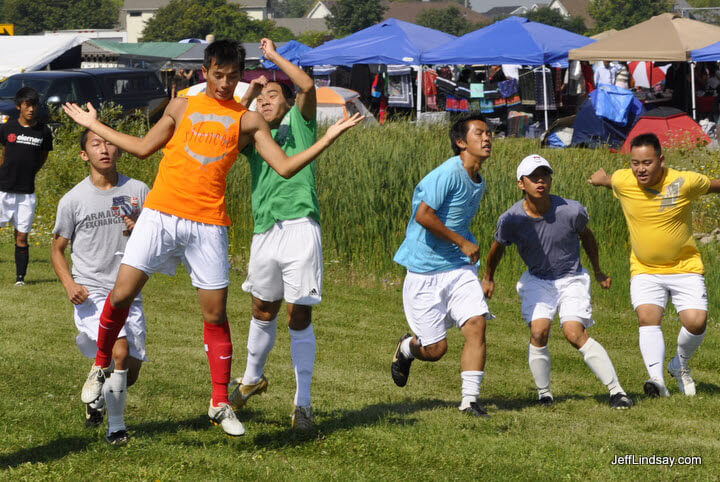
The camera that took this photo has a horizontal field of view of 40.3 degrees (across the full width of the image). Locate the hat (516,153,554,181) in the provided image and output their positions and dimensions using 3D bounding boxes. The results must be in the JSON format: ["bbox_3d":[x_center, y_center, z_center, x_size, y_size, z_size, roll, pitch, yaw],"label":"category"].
[{"bbox_3d":[1.682,-0.733,9.879,0.229,0.186,0.321,-3,-4,-12],"label":"hat"}]

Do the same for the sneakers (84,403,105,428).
[{"bbox_3d":[-2.456,1.616,9.034,0.213,0.275,0.611,1,-3,-16],"label":"sneakers"}]

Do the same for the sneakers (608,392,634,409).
[{"bbox_3d":[2.563,1.593,9.738,0.122,0.085,0.195,2,3,-19],"label":"sneakers"}]

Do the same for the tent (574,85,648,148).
[{"bbox_3d":[5.378,-2.641,21.523,1.515,1.454,1.543,-1,6,-5],"label":"tent"}]

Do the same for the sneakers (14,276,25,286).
[{"bbox_3d":[-4.661,0.558,13.427,0.109,0.133,0.113,-3,6,-11],"label":"sneakers"}]

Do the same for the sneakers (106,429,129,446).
[{"bbox_3d":[-2.128,1.734,8.630,0.209,0.098,0.088,4,5,30],"label":"sneakers"}]

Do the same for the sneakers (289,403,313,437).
[{"bbox_3d":[-0.552,1.660,9.150,0.204,0.215,0.187,1,4,15],"label":"sneakers"}]

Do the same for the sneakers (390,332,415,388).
[{"bbox_3d":[0.411,1.299,10.368,0.191,0.605,0.259,-4,13,-43],"label":"sneakers"}]

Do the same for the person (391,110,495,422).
[{"bbox_3d":[0.828,0.226,9.725,1.120,2.908,0.761,6,11,22],"label":"person"}]

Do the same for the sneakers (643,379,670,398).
[{"bbox_3d":[2.995,1.513,10.061,0.292,0.155,0.122,5,18,9],"label":"sneakers"}]

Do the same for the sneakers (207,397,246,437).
[{"bbox_3d":[-1.180,1.550,8.619,0.185,0.221,0.466,3,14,-46],"label":"sneakers"}]

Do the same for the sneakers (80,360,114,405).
[{"bbox_3d":[-2.350,1.280,8.663,0.160,0.488,0.181,18,-16,-7],"label":"sneakers"}]

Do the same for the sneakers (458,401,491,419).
[{"bbox_3d":[1.079,1.640,9.501,0.236,0.109,0.123,-4,-4,40],"label":"sneakers"}]
